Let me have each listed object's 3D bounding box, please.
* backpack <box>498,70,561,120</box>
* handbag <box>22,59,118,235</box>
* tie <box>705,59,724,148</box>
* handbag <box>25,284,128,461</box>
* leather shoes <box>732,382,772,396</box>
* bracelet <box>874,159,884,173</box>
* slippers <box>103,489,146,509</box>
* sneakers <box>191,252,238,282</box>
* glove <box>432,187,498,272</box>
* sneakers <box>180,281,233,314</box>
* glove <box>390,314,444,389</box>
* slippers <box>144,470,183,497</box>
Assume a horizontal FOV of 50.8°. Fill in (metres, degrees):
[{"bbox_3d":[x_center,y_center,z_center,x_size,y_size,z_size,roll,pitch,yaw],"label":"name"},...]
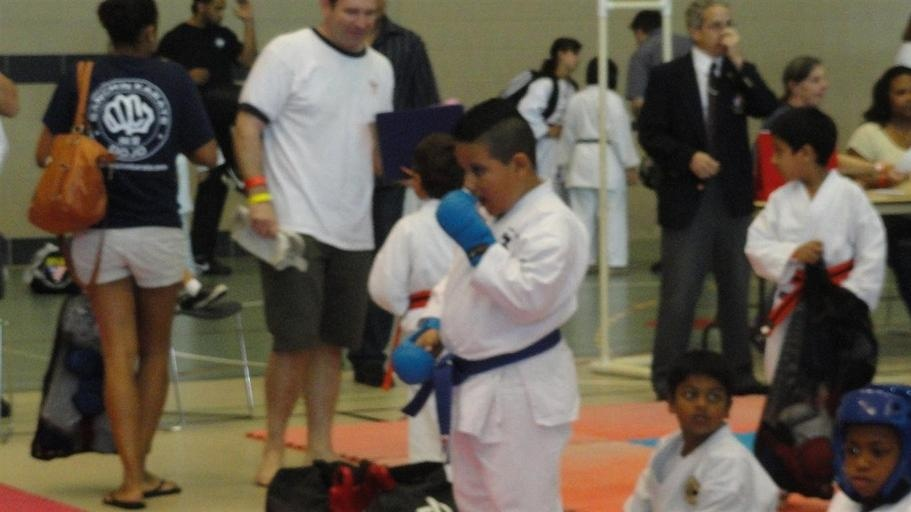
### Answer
[{"bbox_3d":[0.518,-1.134,6.685,0.395,0.288,0.158,-42,3,7],"label":"backpack"},{"bbox_3d":[-2.048,-0.574,5.077,0.409,0.937,0.276,-3,10,-23],"label":"handbag"},{"bbox_3d":[1.694,-1.004,6.313,0.088,0.571,0.038,2,9,6],"label":"tie"},{"bbox_3d":[-2.183,0.685,5.533,0.755,0.836,0.353,5,-13,-30],"label":"handbag"},{"bbox_3d":[1.941,0.879,6.327,0.211,0.077,0.092,0,9,-8],"label":"leather shoes"},{"bbox_3d":[2.662,-0.575,6.037,0.058,0.019,0.066,-2,42,8],"label":"bracelet"},{"bbox_3d":[-1.788,1.326,5.210,0.216,0.083,0.099,11,6,26],"label":"slippers"},{"bbox_3d":[-1.722,0.071,6.887,0.313,0.159,0.097,-2,14,-18],"label":"sneakers"},{"bbox_3d":[0.056,-0.121,4.316,0.238,0.359,0.138,-43,-2,-16],"label":"glove"},{"bbox_3d":[-1.687,0.241,6.388,0.389,0.153,0.126,-26,26,-2],"label":"sneakers"},{"bbox_3d":[-0.119,0.460,4.568,0.236,0.304,0.165,34,-4,25],"label":"glove"},{"bbox_3d":[-1.591,1.277,5.388,0.267,0.093,0.087,-1,5,-45],"label":"slippers"}]
